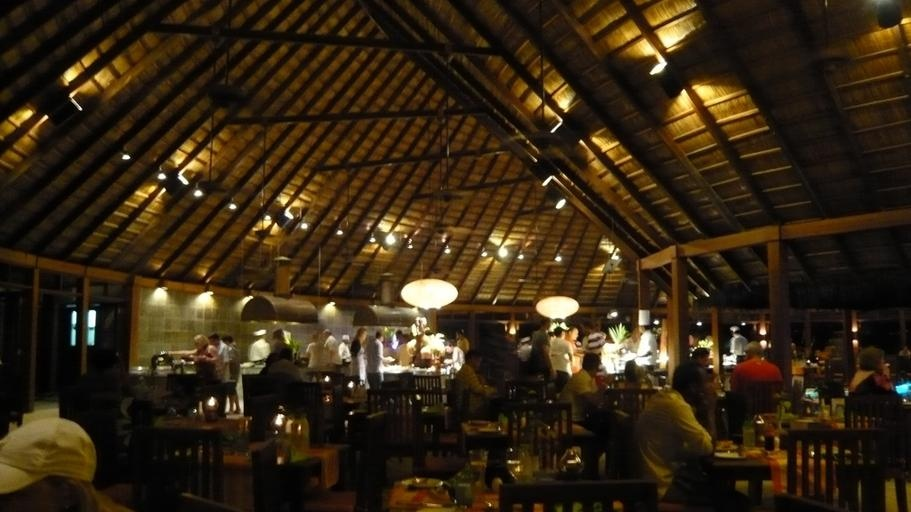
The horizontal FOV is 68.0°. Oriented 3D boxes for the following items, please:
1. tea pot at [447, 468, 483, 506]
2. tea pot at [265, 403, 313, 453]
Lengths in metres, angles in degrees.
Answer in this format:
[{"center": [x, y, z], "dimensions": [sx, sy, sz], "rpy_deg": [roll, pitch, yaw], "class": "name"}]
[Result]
[{"center": [0.112, 2.668, 7.821], "dimensions": [0.423, 0.405, 0.320], "rpy_deg": [-3, -12, 12], "class": "tea pot"}, {"center": [-2.262, 2.323, 9.077], "dimensions": [0.501, 0.720, 0.400], "rpy_deg": [2, 0, 43], "class": "tea pot"}]
